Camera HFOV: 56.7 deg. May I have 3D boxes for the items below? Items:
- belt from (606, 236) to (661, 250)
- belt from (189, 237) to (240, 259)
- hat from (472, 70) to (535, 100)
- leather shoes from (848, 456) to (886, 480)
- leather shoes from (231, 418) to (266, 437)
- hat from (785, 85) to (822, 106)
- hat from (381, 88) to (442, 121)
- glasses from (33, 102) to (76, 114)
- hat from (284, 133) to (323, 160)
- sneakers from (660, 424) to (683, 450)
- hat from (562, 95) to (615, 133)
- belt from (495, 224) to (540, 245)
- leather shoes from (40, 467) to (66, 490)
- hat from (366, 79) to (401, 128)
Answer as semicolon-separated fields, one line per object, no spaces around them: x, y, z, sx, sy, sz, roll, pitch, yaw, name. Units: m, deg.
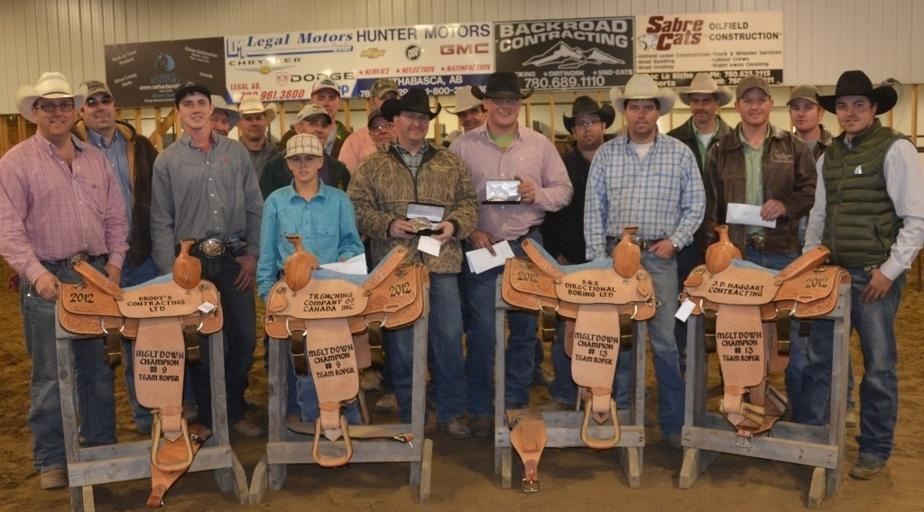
1.843;-0.117;9.199;0.580;0.166;0.133;0;14;9;belt
-2.640;-0.090;9.171;0.327;0.118;0.240;9;27;-6;belt
0.440;-1.855;9.789;0.804;0.305;0.868;1;1;-1;hat
4.104;2.159;8.725;0.388;0.169;0.188;1;3;-32;leather shoes
-2.406;1.925;9.538;0.293;0.070;0.177;11;28;11;leather shoes
4.097;-1.924;10.223;0.298;0.211;0.411;-1;-5;42;hat
-0.616;-1.613;9.321;0.465;0.204;0.495;3;-8;-9;hat
-4.185;-1.526;8.747;0.373;0.130;0.104;-6;15;-15;glasses
-1.649;-1.138;8.876;0.360;0.250;0.275;-6;15;-16;hat
2.240;1.952;9.191;0.236;0.192;0.353;1;8;4;sneakers
1.536;-1.773;10.354;0.505;0.219;0.592;-9;-19;13;hat
0.706;-0.232;9.517;0.261;0.210;0.260;-6;14;5;belt
-4.174;2.273;8.722;0.237;0.176;0.234;-4;-20;-12;leather shoes
-0.990;-2.024;10.893;0.419;0.351;0.678;0;-1;-8;hat
